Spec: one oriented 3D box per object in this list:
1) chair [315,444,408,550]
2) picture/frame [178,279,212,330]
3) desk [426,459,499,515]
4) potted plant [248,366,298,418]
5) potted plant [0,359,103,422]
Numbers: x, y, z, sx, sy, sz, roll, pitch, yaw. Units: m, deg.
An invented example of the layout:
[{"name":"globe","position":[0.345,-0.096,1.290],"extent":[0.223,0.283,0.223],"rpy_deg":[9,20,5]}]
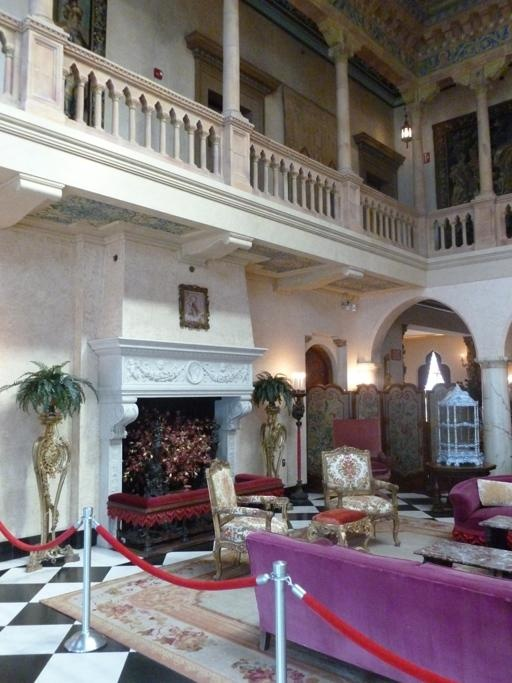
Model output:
[{"name":"chair","position":[1.064,1.696,6.151],"extent":[0.989,1.367,0.950],"rpy_deg":[5,-16,-22]},{"name":"picture/frame","position":[-0.759,-0.429,6.690],"extent":[0.073,0.628,0.565],"rpy_deg":[-13,-14,36]},{"name":"desk","position":[2.738,2.056,7.600],"extent":[0.728,0.517,0.704],"rpy_deg":[15,-12,-11]},{"name":"potted plant","position":[0.277,0.744,8.377],"extent":[0.544,0.604,0.880],"rpy_deg":[-3,-8,21]},{"name":"potted plant","position":[-2.022,0.450,5.295],"extent":[0.658,0.387,0.660],"rpy_deg":[3,2,45]}]
